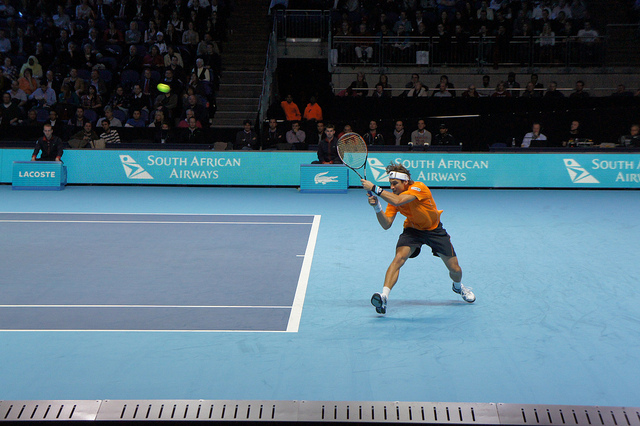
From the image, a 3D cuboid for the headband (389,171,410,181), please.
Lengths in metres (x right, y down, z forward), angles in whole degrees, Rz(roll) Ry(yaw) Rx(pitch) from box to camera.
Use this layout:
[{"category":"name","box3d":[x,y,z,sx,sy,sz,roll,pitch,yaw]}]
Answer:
[{"category":"headband","box3d":[1.116,-0.516,8.027,0.186,0.072,0.139,18,-1,-20]}]

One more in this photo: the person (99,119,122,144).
[{"category":"person","box3d":[-6.944,-2.693,18.908,0.719,0.736,1.518,-3,12,-20]}]

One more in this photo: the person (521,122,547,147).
[{"category":"person","box3d":[6.953,-2.498,18.435,0.657,0.743,1.107,4,12,13]}]

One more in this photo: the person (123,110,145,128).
[{"category":"person","box3d":[-6.500,-3.272,20.009,0.827,0.613,0.383,3,-8,-12]}]

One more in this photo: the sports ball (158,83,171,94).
[{"category":"sports ball","box3d":[-5.493,-4.364,20.069,0.384,0.252,0.374,2,11,0]}]

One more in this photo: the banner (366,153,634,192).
[{"category":"banner","box3d":[5.779,-1.267,17.476,7.662,1.319,0.333,2,13,0]}]
